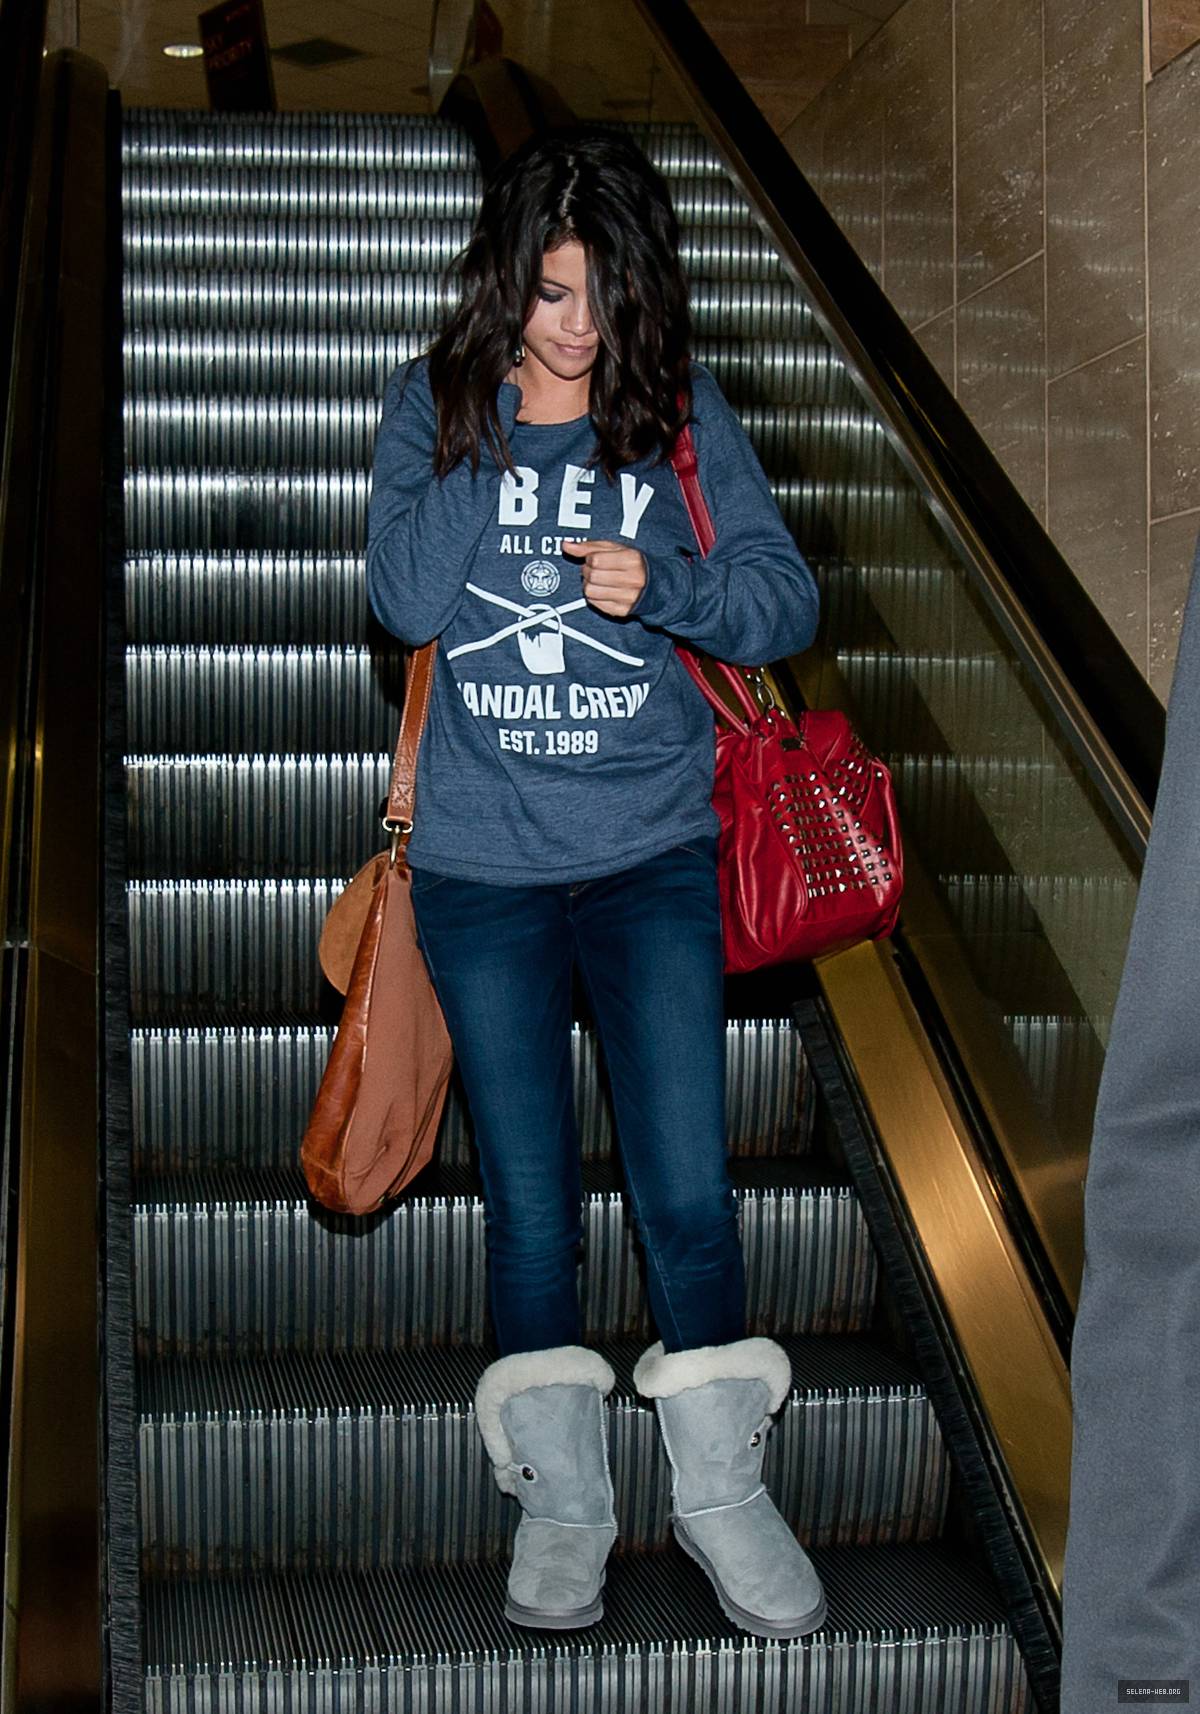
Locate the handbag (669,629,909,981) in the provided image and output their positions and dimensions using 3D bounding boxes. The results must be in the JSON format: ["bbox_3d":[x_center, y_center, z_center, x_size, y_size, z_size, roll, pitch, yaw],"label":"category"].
[{"bbox_3d":[0.260,-0.065,1.764,0.183,0.444,0.300,-20,13,13],"label":"handbag"}]

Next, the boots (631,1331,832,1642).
[{"bbox_3d":[0.143,0.644,1.457,0.096,0.257,0.318,-8,4,-17],"label":"boots"}]

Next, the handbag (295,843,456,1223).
[{"bbox_3d":[-0.240,0.190,1.485,0.112,0.372,0.161,0,7,29],"label":"handbag"}]

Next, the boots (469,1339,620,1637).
[{"bbox_3d":[-0.050,0.635,1.422,0.090,0.253,0.311,-1,1,0],"label":"boots"}]
